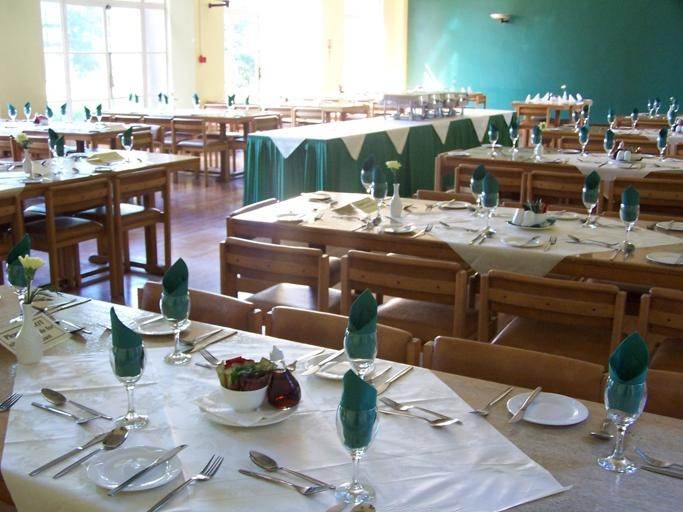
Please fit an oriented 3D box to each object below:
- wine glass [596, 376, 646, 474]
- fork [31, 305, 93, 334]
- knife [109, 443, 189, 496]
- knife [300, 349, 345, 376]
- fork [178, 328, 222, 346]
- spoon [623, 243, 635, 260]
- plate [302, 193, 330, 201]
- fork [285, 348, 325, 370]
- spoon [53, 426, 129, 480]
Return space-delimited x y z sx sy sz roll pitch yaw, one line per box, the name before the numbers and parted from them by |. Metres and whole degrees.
wine glass | 0.640 0.339 1.209 0.079 0.210 0.230 4 15 28
fork | -0.963 0.221 1.832 0.035 0.038 0.307 -14 21 -42
knife | -0.394 0.448 1.172 0.034 0.017 0.268 20 18 23
knife | -0.049 0.315 1.574 0.040 0.019 0.371 15 7 13
fork | -0.460 0.264 1.728 0.121 0.019 0.019 -28 -4 -29
spoon | 1.371 -0.023 2.535 0.051 0.046 0.063 4 32 22
plate | -0.170 -0.417 3.706 0.200 0.043 0.225 -4 13 -4
fork | -0.098 0.298 1.633 0.035 0.019 0.228 18 18 25
spoon | -0.554 0.432 1.191 0.037 0.027 0.175 13 22 25
